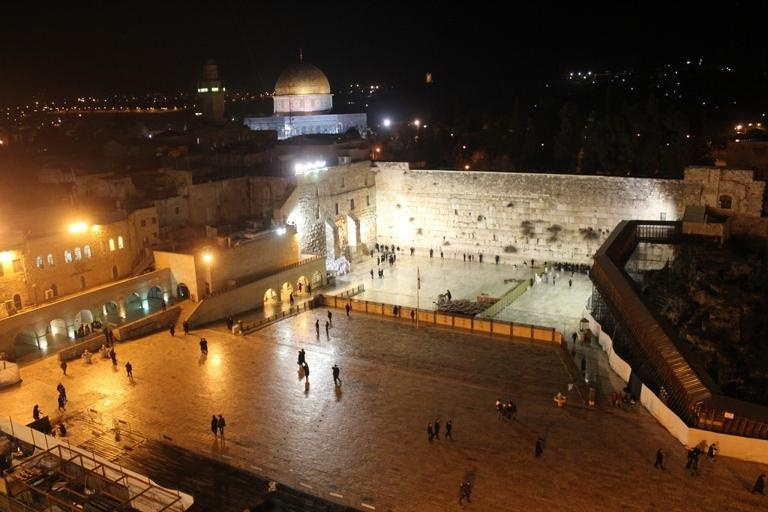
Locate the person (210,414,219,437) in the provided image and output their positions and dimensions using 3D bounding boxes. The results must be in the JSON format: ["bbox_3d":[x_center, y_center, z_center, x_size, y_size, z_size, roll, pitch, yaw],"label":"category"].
[{"bbox_3d":[-7.399,7.390,24.619,0.272,0.960,0.535,-4,15,-20],"label":"person"}]

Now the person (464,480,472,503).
[{"bbox_3d":[3.218,8.763,21.356,0.277,0.765,0.799,5,15,18],"label":"person"}]

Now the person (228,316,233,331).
[{"bbox_3d":[-9.358,4.021,34.198,0.317,0.701,1.231,-3,15,-15],"label":"person"}]

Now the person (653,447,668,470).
[{"bbox_3d":[11.134,8.195,22.674,0.498,0.741,0.406,-21,23,-5],"label":"person"}]

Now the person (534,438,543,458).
[{"bbox_3d":[6.402,7.960,23.294,0.327,0.706,0.311,-15,35,-9],"label":"person"}]

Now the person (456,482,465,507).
[{"bbox_3d":[2.957,8.795,21.237,0.332,0.776,0.669,3,14,8],"label":"person"}]

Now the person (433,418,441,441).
[{"bbox_3d":[2.301,7.378,24.381,0.304,0.794,0.786,2,14,5],"label":"person"}]

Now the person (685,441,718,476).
[{"bbox_3d":[12.644,7.925,22.460,1.636,0.986,0.797,-11,18,-38],"label":"person"}]

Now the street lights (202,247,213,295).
[{"bbox_3d":[-11.084,1.112,35.439,0.550,2.532,0.519,-2,14,-10],"label":"street lights"}]

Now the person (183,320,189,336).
[{"bbox_3d":[-11.821,4.200,33.596,0.346,0.729,0.863,-5,15,-22],"label":"person"}]

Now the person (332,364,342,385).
[{"bbox_3d":[-2.388,5.796,28.508,0.431,0.942,1.540,-1,14,-7],"label":"person"}]

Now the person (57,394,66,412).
[{"bbox_3d":[-15.177,6.849,26.516,0.289,0.590,0.722,-7,16,-29],"label":"person"}]

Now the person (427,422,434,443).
[{"bbox_3d":[1.998,7.612,24.220,0.377,0.877,0.364,0,32,12],"label":"person"}]

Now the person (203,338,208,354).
[{"bbox_3d":[-9.964,5.027,31.377,0.274,0.445,0.827,3,41,-7],"label":"person"}]

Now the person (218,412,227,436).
[{"bbox_3d":[-7.188,7.296,24.965,0.333,0.959,1.111,-3,15,-16],"label":"person"}]
